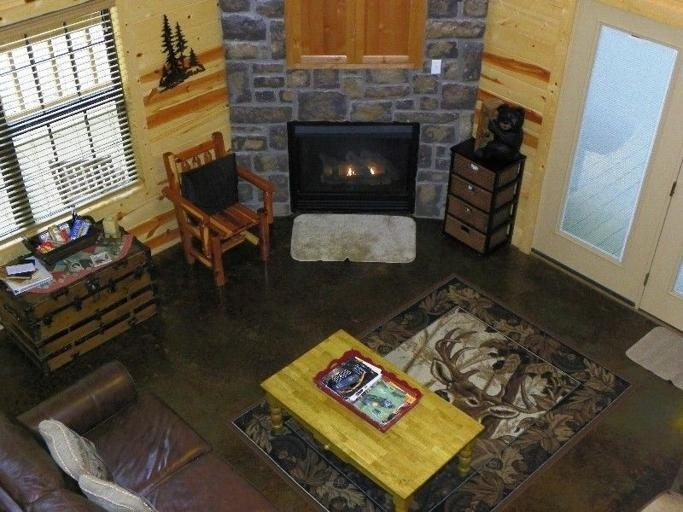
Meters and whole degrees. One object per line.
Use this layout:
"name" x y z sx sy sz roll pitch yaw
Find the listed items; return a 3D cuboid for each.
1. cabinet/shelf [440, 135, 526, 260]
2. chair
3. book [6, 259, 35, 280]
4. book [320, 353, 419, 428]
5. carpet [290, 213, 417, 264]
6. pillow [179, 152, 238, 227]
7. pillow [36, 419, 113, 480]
"cabinet/shelf" 1.541 -0.654 6.036 0.555 1.086 0.676 -29 44 -34
"chair" -1.340 -0.475 5.843 1.053 1.303 0.860 -33 59 -25
"book" -2.754 0.115 4.742 0.178 0.038 0.159 1 40 -13
"book" 0.181 1.001 4.143 0.584 0.129 0.424 32 51 26
"carpet" 0.155 -0.195 6.216 1.192 0.011 0.588 0 42 0
"pillow" -1.345 -0.739 5.757 0.683 0.591 0.190 -26 30 -36
"pillow" -1.624 1.181 3.336 0.120 0.326 0.332 -40 15 -6
